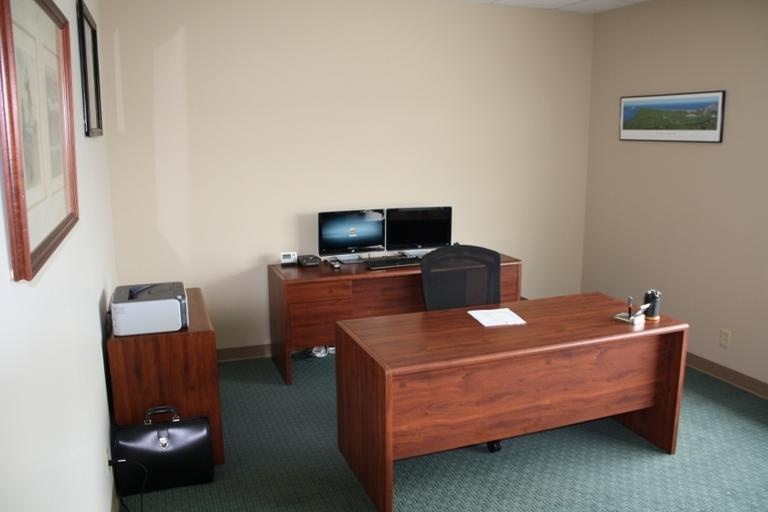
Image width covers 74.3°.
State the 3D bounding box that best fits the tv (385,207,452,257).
[{"bbox_3d":[0.322,-0.252,5.002,0.513,0.343,0.134,-3,10,-14],"label":"tv"}]

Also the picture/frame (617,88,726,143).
[{"bbox_3d":[2.719,-1.322,4.831,0.096,0.451,1.075,-6,14,-21],"label":"picture/frame"}]

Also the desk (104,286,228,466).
[{"bbox_3d":[-1.642,0.684,3.770,0.642,0.757,1.145,-3,19,-26],"label":"desk"}]

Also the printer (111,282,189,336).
[{"bbox_3d":[-1.572,0.342,3.410,0.454,0.221,0.495,-5,14,-18],"label":"printer"}]

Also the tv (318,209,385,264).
[{"bbox_3d":[-0.320,-0.207,4.948,0.697,0.490,0.198,-5,16,-23],"label":"tv"}]

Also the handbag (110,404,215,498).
[{"bbox_3d":[-1.403,1.234,3.153,0.542,0.441,0.190,-5,17,-18],"label":"handbag"}]
